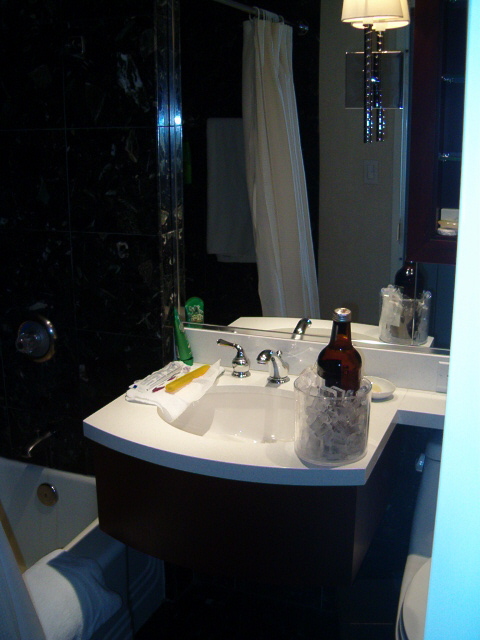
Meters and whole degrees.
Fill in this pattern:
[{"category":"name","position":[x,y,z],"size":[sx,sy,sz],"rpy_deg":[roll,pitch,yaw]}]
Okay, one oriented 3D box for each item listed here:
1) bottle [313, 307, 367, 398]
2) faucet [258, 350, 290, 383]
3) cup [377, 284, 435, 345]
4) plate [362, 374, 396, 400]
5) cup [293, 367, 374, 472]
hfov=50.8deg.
[{"category":"bottle","position":[0.199,0.070,1.007],"size":[0.068,0.234,0.087],"rpy_deg":[9,43,18]},{"category":"faucet","position":[0.098,0.125,1.353],"size":[0.045,0.098,0.115],"rpy_deg":[0,3,22]},{"category":"cup","position":[0.426,-0.020,1.324],"size":[0.106,0.181,0.129],"rpy_deg":[0,4,-1]},{"category":"plate","position":[0.348,0.171,1.260],"size":[0.081,0.029,0.081],"rpy_deg":[14,23,40]},{"category":"cup","position":[0.172,0.201,0.967],"size":[0.121,0.197,0.158],"rpy_deg":[0,10,5]}]
